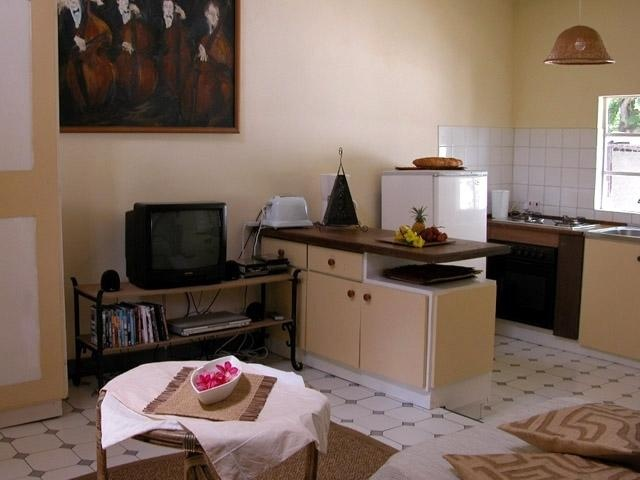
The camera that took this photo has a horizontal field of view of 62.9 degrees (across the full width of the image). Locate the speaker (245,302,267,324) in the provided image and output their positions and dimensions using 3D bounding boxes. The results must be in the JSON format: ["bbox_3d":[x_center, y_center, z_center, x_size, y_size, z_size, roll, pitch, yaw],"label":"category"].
[{"bbox_3d":[-0.537,0.606,4.422,0.147,0.158,0.136,-6,7,-43],"label":"speaker"}]

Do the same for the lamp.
[{"bbox_3d":[1.935,-1.453,3.927,0.420,0.263,0.302,2,9,-1],"label":"lamp"}]

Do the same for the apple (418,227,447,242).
[{"bbox_3d":[0.827,-0.036,3.789,0.139,0.085,0.111,3,4,12],"label":"apple"}]

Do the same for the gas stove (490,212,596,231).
[{"bbox_3d":[2.319,-0.186,5.389,0.904,0.102,1.075,-7,12,-44],"label":"gas stove"}]

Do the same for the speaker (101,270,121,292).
[{"bbox_3d":[-1.488,0.296,3.763,0.130,0.158,0.138,0,-2,41],"label":"speaker"}]

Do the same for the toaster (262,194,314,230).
[{"bbox_3d":[-0.302,-0.249,4.664,0.381,0.276,0.419,-3,5,-21],"label":"toaster"}]

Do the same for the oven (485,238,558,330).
[{"bbox_3d":[1.998,0.560,5.413,0.725,0.947,0.723,2,-22,12],"label":"oven"}]

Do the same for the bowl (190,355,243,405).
[{"bbox_3d":[-0.486,0.623,2.275,0.139,0.221,0.081,-2,41,-17],"label":"bowl"}]

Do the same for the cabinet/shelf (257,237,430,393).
[{"bbox_3d":[0.224,0.551,3.889,0.333,0.535,1.029,-2,7,-40],"label":"cabinet/shelf"}]

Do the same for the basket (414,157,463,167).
[{"bbox_3d":[1.146,-0.742,5.073,0.441,0.104,0.211,0,9,-13],"label":"basket"}]

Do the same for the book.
[{"bbox_3d":[-1.331,0.609,3.722,0.420,0.283,0.305,-1,2,-31],"label":"book"}]

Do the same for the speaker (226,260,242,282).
[{"bbox_3d":[-0.703,0.244,4.233,0.119,0.162,0.158,-5,11,-27],"label":"speaker"}]

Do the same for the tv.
[{"bbox_3d":[-1.141,0.025,4.086,0.619,0.670,0.650,-2,3,-37],"label":"tv"}]
